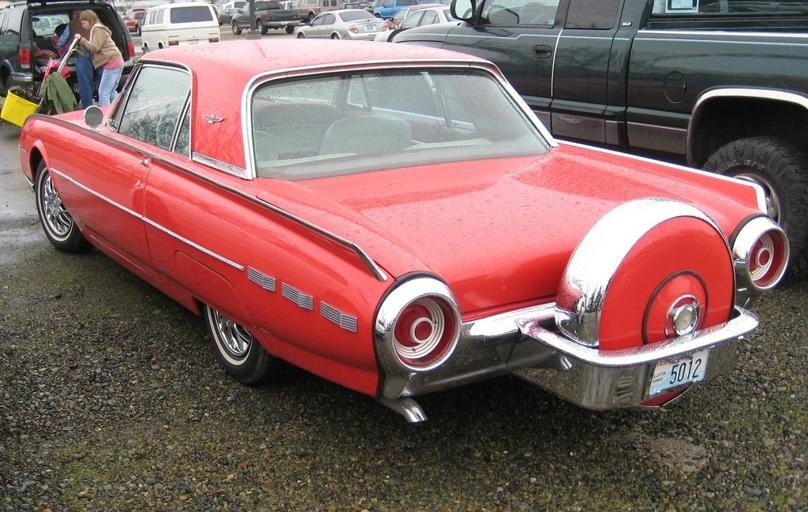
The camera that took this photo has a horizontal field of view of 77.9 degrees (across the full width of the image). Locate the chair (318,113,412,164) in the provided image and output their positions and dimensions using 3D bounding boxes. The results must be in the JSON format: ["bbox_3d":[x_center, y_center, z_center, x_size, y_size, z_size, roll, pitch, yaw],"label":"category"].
[{"bbox_3d":[-0.274,-0.784,3.354,0.383,0.499,0.425,-8,24,-28],"label":"chair"}]
